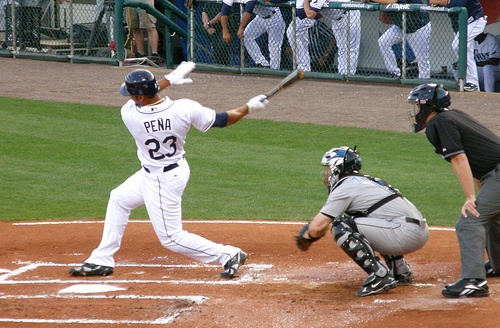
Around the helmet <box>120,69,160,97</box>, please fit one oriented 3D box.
[{"bbox_3d":[-1.444,-0.977,11.429,0.540,0.288,0.211,2,-40,3],"label":"helmet"}]

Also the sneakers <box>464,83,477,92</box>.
[{"bbox_3d":[4.304,-1.507,17.911,0.361,0.109,0.108,12,13,-15],"label":"sneakers"}]

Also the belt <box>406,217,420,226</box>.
[{"bbox_3d":[1.959,0.698,11.117,0.143,0.042,0.089,12,4,-10],"label":"belt"}]

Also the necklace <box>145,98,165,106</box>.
[{"bbox_3d":[-1.195,-0.770,11.416,0.146,0.028,0.115,-16,0,45],"label":"necklace"}]

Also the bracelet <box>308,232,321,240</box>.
[{"bbox_3d":[0.757,0.865,11.121,0.140,0.092,0.084,-2,-7,4],"label":"bracelet"}]

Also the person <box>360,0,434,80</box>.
[{"bbox_3d":[2.984,-2.492,18.081,1.062,1.568,0.551,6,7,37],"label":"person"}]

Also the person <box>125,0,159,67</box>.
[{"bbox_3d":[-2.434,-2.963,20.257,0.797,1.409,1.069,1,5,-6],"label":"person"}]

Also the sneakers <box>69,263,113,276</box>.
[{"bbox_3d":[-2.057,1.370,11.822,0.586,0.188,0.176,5,-7,-7],"label":"sneakers"}]

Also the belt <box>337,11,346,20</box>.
[{"bbox_3d":[1.809,-3.005,18.357,0.157,0.127,0.038,-29,-54,33],"label":"belt"}]

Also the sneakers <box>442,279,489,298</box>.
[{"bbox_3d":[2.527,1.481,10.873,0.542,0.151,0.210,1,6,0],"label":"sneakers"}]

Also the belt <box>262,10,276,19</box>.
[{"bbox_3d":[0.360,-3.105,18.867,0.167,0.033,0.169,-37,18,-18],"label":"belt"}]

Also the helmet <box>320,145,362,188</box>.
[{"bbox_3d":[1.101,0.010,11.191,0.706,0.471,0.450,1,4,6],"label":"helmet"}]
